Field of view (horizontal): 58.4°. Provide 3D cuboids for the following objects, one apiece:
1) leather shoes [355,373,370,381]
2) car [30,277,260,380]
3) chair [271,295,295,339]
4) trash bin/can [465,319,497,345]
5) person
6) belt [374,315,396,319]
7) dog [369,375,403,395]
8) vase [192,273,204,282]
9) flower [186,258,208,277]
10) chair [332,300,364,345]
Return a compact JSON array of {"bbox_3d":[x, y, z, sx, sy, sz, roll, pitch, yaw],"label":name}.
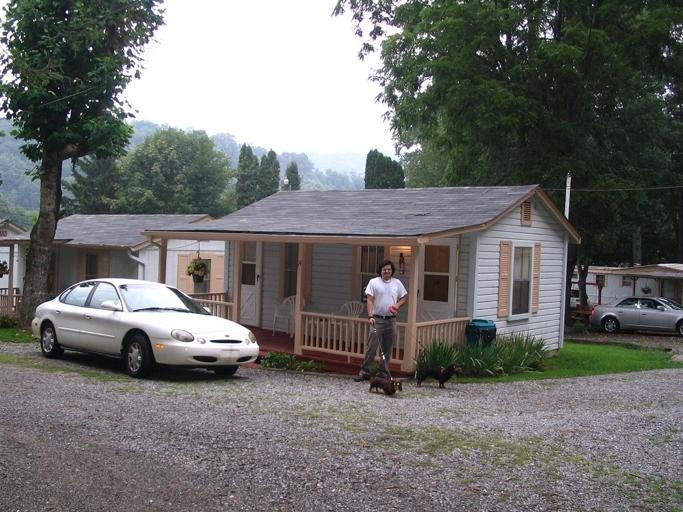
[{"bbox_3d":[0.374,2.293,11.507,0.301,0.143,0.116,5,-2,-13],"label":"leather shoes"},{"bbox_3d":[-3.719,1.292,11.330,4.180,1.711,1.481,0,-5,30],"label":"car"},{"bbox_3d":[-1.522,1.549,16.206,0.608,1.019,0.625,-5,-3,-7],"label":"chair"},{"bbox_3d":[3.091,1.666,13.257,0.566,0.679,0.462,6,-8,-34],"label":"trash bin/can"},{"bbox_3d":[0.710,1.110,11.018,0.714,2.001,0.883,3,-4,-13],"label":"person"},{"bbox_3d":[0.750,1.085,10.826,0.359,0.096,0.158,3,-5,-2],"label":"belt"},{"bbox_3d":[0.747,2.217,10.454,0.506,0.274,0.678,5,-6,-20],"label":"dog"},{"bbox_3d":[-4.313,0.673,18.297,0.274,0.220,0.271,5,-7,-45],"label":"vase"},{"bbox_3d":[-4.318,0.386,18.334,0.692,0.651,0.714,-1,-4,24],"label":"flower"},{"bbox_3d":[0.081,1.585,14.665,0.856,1.226,0.842,1,-4,31],"label":"chair"}]
